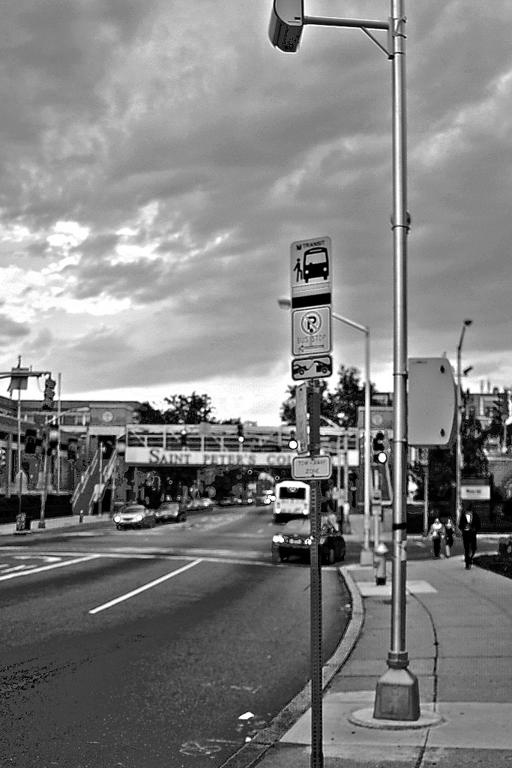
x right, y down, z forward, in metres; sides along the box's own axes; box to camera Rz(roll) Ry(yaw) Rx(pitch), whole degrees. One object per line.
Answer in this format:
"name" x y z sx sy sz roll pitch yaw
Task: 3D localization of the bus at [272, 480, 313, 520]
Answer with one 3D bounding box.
"bus" 2.253 8.126 59.504 2.608 3.483 4.951 0 -4 8
